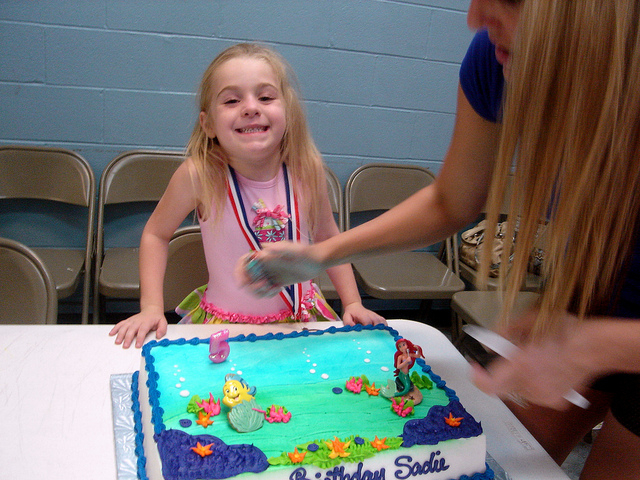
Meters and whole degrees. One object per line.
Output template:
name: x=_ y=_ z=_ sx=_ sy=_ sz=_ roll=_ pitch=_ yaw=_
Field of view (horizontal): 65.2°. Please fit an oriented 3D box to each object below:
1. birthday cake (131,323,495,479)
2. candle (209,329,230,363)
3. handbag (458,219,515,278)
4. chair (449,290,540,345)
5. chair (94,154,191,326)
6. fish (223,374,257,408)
birthday cake: x=-0.052 y=0.370 z=1.161 sx=0.735 sy=0.327 sz=0.501 roll=-2 pitch=-4 yaw=-20
candle: x=-0.252 y=0.268 z=1.246 sx=0.069 sy=0.106 sz=0.016 roll=0 pitch=-4 yaw=-26
handbag: x=0.600 y=0.042 z=1.817 sx=0.217 sy=0.252 sz=0.198 roll=-2 pitch=19 yaw=-3
chair: x=0.578 y=0.243 z=1.651 sx=0.263 sy=0.147 sz=0.194 roll=-2 pitch=19 yaw=-4
chair: x=-0.857 y=0.108 z=2.396 sx=0.482 sy=0.840 sz=0.607 roll=7 pitch=26 yaw=-17
fish: x=-0.185 y=0.333 z=1.116 sx=0.081 sy=0.039 sz=0.126 roll=9 pitch=15 yaw=-9
